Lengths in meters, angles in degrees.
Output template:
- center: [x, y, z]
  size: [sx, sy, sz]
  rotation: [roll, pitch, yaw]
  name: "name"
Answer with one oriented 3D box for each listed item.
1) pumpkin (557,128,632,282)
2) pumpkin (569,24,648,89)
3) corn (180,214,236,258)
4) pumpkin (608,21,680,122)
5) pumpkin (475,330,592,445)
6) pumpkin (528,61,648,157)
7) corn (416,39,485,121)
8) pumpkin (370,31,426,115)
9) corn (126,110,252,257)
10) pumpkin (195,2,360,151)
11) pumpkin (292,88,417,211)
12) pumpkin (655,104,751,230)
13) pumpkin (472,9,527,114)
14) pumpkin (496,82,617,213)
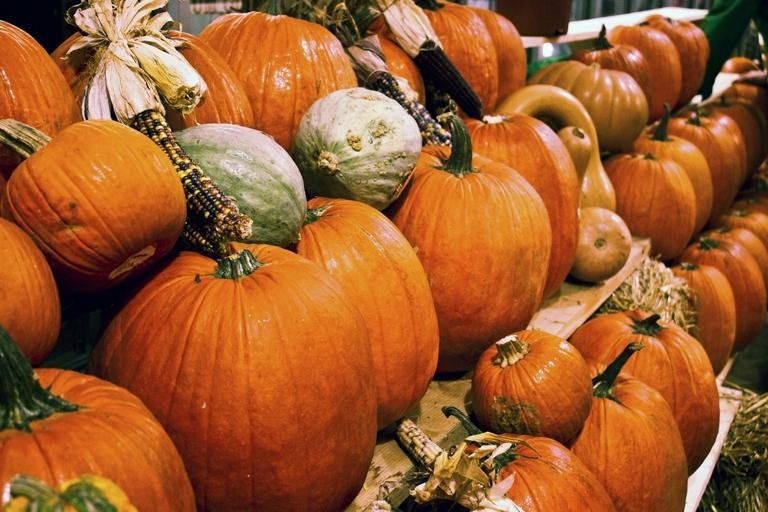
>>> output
- center: [0.933, -0.195, 3.016]
  size: [0.306, 0.759, 0.295]
  rotation: [-10, -1, -26]
  name: "pumpkin"
- center: [1.369, -1.189, 3.866]
  size: [0.388, 0.403, 0.406]
  rotation: [7, 18, 22]
  name: "pumpkin"
- center: [-0.493, -0.060, 1.731]
  size: [0.163, 0.080, 0.060]
  rotation: [32, 22, 21]
  name: "corn"
- center: [1.667, -1.152, 4.169]
  size: [0.412, 0.647, 0.451]
  rotation: [1, 2, 2]
  name: "pumpkin"
- center: [0.494, 0.383, 2.175]
  size: [0.364, 0.341, 0.368]
  rotation: [3, 0, 32]
  name: "pumpkin"
- center: [1.182, -0.830, 3.742]
  size: [0.753, 0.544, 0.788]
  rotation: [6, 9, 43]
  name: "pumpkin"
- center: [0.260, -0.721, 2.664]
  size: [0.132, 0.463, 0.143]
  rotation: [-12, 36, 49]
  name: "corn"
- center: [0.063, -0.771, 2.560]
  size: [0.246, 0.335, 0.166]
  rotation: [-11, 48, -29]
  name: "pumpkin"
- center: [-0.444, -0.217, 1.796]
  size: [0.379, 0.361, 0.349]
  rotation: [17, 23, 32]
  name: "corn"
- center: [-0.391, -0.587, 2.390]
  size: [0.494, 0.467, 0.498]
  rotation: [5, 0, 44]
  name: "pumpkin"
- center: [-0.085, -0.331, 1.956]
  size: [0.354, 0.367, 0.367]
  rotation: [-1, -21, -3]
  name: "pumpkin"
- center: [2.172, -0.640, 4.742]
  size: [0.824, 0.972, 0.798]
  rotation: [-3, 7, -6]
  name: "pumpkin"
- center: [0.541, -0.985, 3.215]
  size: [0.419, 0.506, 0.419]
  rotation: [-5, 12, 6]
  name: "pumpkin"
- center: [0.846, -0.489, 3.171]
  size: [0.431, 0.750, 0.289]
  rotation: [-19, -3, -19]
  name: "pumpkin"
